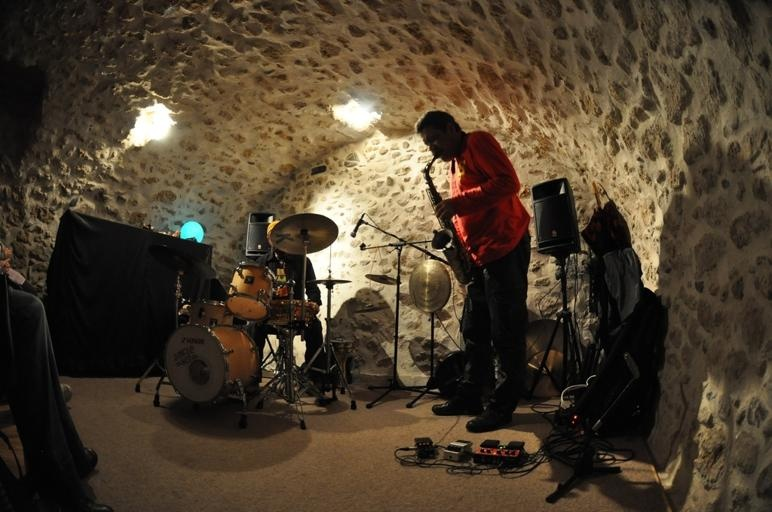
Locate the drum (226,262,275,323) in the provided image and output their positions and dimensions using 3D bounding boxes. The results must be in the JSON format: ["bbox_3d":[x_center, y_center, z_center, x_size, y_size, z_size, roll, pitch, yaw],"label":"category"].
[{"bbox_3d":[-1.129,0.316,4.862,0.397,0.512,0.288,-3,8,-13],"label":"drum"}]

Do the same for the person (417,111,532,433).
[{"bbox_3d":[0.723,0.114,4.488,0.717,2.474,0.841,-3,8,-17],"label":"person"}]

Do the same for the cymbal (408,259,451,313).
[{"bbox_3d":[0.439,0.319,6.206,0.524,0.534,0.142,3,1,33],"label":"cymbal"}]

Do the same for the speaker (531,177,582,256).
[{"bbox_3d":[1.471,-0.338,5.167,0.453,0.701,0.238,3,9,28],"label":"speaker"}]

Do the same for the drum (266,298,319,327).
[{"bbox_3d":[-0.823,0.486,5.007,0.290,0.105,0.255,-8,-17,25],"label":"drum"}]

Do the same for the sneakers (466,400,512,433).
[{"bbox_3d":[0.760,1.193,4.310,0.421,0.176,0.152,4,-6,-37],"label":"sneakers"}]

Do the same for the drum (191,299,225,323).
[{"bbox_3d":[-1.512,0.484,5.008,0.214,0.159,0.219,3,-12,1],"label":"drum"}]
